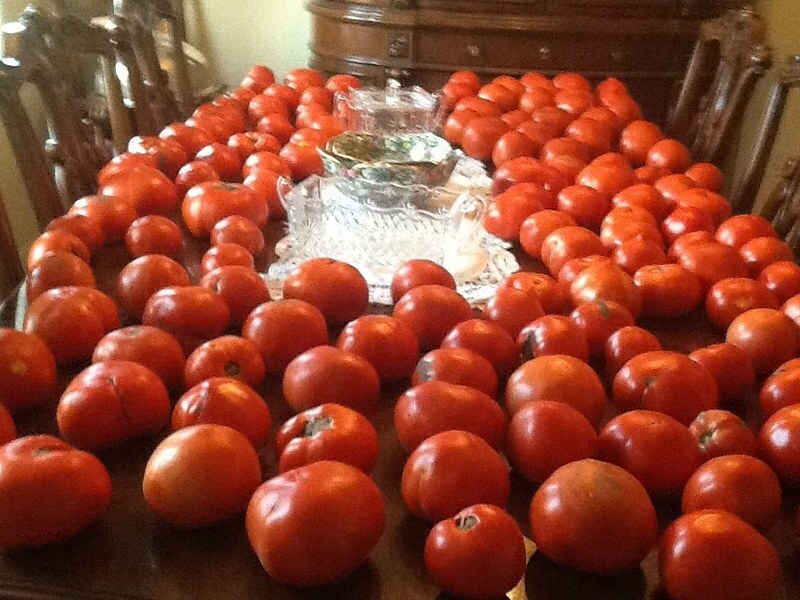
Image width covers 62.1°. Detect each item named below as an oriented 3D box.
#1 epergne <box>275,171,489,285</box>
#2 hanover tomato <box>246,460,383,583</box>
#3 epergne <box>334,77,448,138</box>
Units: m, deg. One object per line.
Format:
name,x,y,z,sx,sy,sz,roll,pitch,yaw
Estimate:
epergne,-0.041,-0.123,1.122,0.274,0.099,0.208,5,16,3
hanover tomato,-0.090,0.196,0.657,0.122,0.092,0.095,-8,17,-13
epergne,-0.029,-0.468,1.640,0.238,0.094,0.203,0,26,5
